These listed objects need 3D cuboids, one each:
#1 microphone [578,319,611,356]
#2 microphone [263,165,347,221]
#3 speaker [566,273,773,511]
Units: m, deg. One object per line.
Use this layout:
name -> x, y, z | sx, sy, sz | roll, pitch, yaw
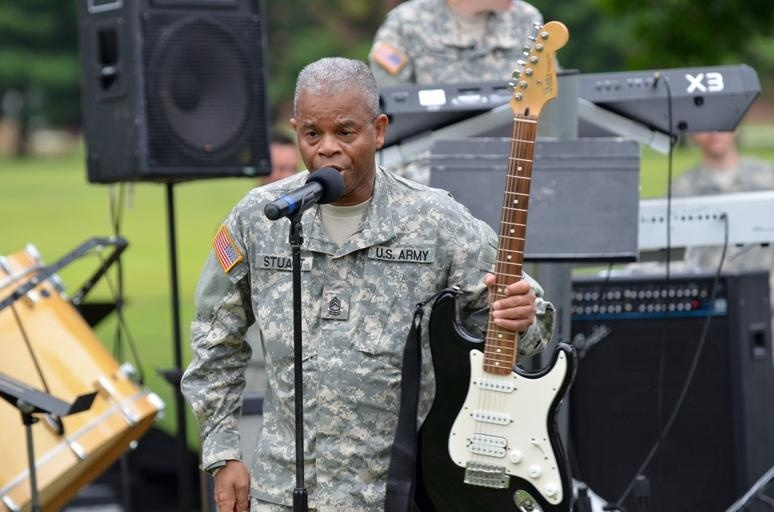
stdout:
microphone -> 1.398, 0.545, 12.419 | 0.149, 0.252, 0.072 | 39, -7, 12
microphone -> -0.472, -0.374, 11.085 | 0.226, 0.218, 0.561 | 23, 32, 27
speaker -> 1.904, 0.879, 12.333 | 1.366, 1.586, 0.475 | 3, 12, 5
